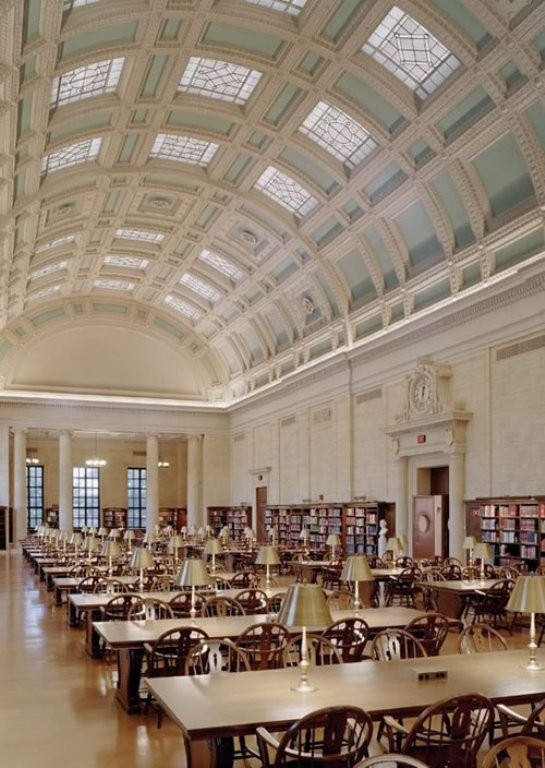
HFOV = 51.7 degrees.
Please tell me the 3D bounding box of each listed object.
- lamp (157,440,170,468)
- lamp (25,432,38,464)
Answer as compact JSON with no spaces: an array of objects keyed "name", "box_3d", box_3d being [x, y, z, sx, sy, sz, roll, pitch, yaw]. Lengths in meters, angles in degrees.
[{"name":"lamp","box_3d":[-6.477,4.231,33.777,0.691,1.590,1.436,0,-10,-7]},{"name":"lamp","box_3d":[-13.264,3.507,31.018,0.701,1.666,3.346,3,-11,-22]}]
